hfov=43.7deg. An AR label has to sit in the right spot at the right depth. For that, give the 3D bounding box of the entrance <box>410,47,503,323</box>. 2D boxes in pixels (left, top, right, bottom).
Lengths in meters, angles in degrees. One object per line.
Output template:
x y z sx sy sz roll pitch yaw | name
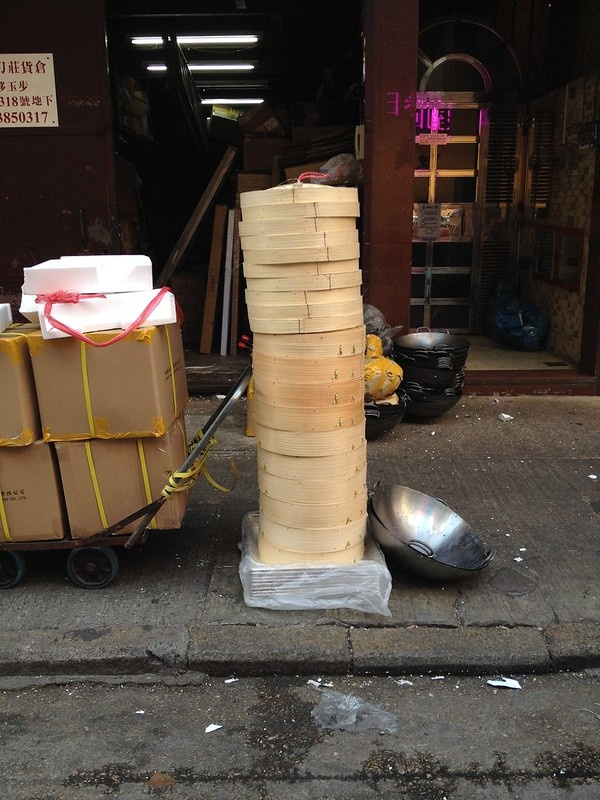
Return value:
1.781 -2.354 8.804 1.046 3.233 0.735 -3 19 -8 | entrance

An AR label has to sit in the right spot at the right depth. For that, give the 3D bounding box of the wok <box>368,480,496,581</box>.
0.682 0.719 3.974 0.651 0.327 0.639 2 16 5 | wok

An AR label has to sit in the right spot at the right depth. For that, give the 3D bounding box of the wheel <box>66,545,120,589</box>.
-1.074 0.860 3.856 0.234 0.198 0.075 22 20 2 | wheel
